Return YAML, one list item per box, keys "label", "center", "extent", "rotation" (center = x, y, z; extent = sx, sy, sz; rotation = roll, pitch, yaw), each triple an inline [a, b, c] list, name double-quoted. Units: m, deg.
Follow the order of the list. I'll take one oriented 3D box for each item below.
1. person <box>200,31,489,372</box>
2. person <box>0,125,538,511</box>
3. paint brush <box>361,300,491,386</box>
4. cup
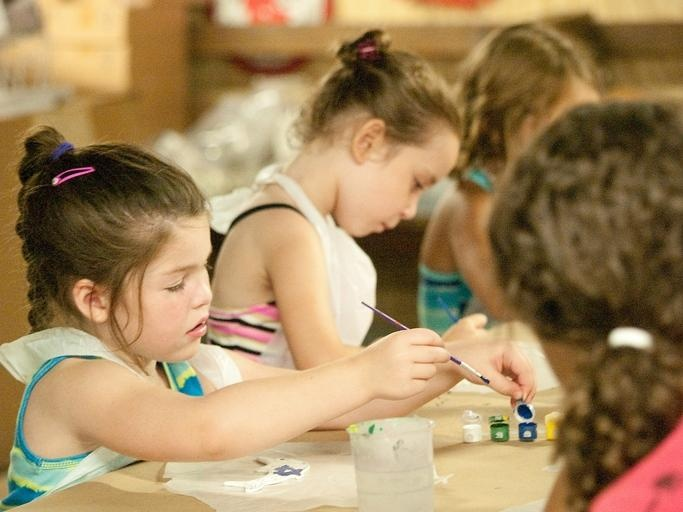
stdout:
- label: "person"
  center: [0.000, -0.041, 1.422]
  extent: [0.452, 0.726, 0.460]
  rotation: [-1, 20, -41]
- label: "person"
  center: [-0.073, 0.029, 1.245]
  extent: [0.650, 0.901, 0.496]
  rotation: [-4, 16, 7]
- label: "paint brush"
  center: [0.137, 0.131, 1.134]
  extent: [0.310, 0.016, 0.024]
  rotation: [31, 38, 1]
- label: "cup"
  center: [0.053, 0.202, 0.746]
  extent: [0.085, 0.063, 0.080]
  rotation: [-5, 4, 0]
